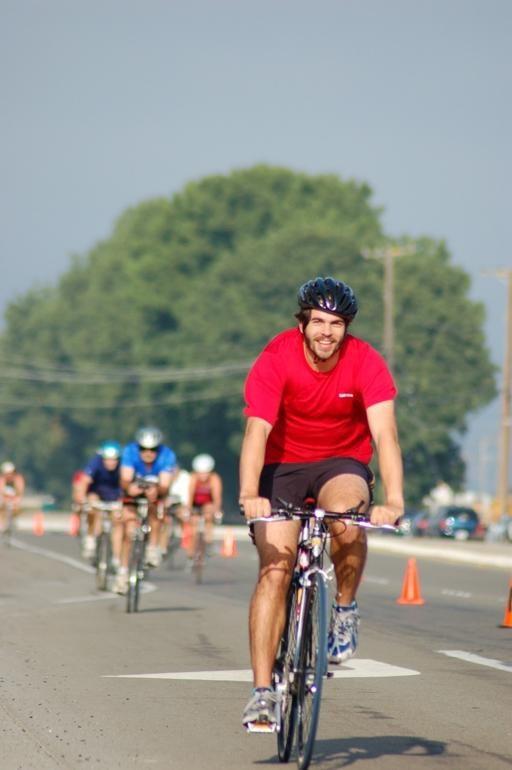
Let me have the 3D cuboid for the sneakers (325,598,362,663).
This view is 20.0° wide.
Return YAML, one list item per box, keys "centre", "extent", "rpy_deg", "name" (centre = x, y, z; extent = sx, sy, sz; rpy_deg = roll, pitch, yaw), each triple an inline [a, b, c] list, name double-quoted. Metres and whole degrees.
- centre: [0.370, 1.052, 6.174]
  extent: [0.106, 0.275, 0.126]
  rpy_deg: [0, -19, 12]
  name: "sneakers"

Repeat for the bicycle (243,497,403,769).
- centre: [0.210, 1.024, 5.851]
  extent: [0.553, 1.081, 0.897]
  rpy_deg: [5, -6, 0]
  name: "bicycle"

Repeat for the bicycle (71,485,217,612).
- centre: [-1.116, 1.543, 13.395]
  extent: [0.727, 0.767, 1.343]
  rpy_deg: [4, -14, -13]
  name: "bicycle"

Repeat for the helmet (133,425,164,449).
- centre: [-0.939, 0.467, 12.745]
  extent: [0.196, 0.113, 0.213]
  rpy_deg: [0, -16, -1]
  name: "helmet"

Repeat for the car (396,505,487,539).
- centre: [6.530, 4.658, 49.397]
  extent: [2.363, 1.278, 5.373]
  rpy_deg: [4, -6, 4]
  name: "car"

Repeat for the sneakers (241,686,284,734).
- centre: [0.023, 1.276, 5.664]
  extent: [0.138, 0.177, 0.156]
  rpy_deg: [5, -6, 1]
  name: "sneakers"

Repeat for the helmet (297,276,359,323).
- centre: [0.298, -0.364, 6.129]
  extent: [0.236, 0.226, 0.292]
  rpy_deg: [5, -6, -1]
  name: "helmet"
